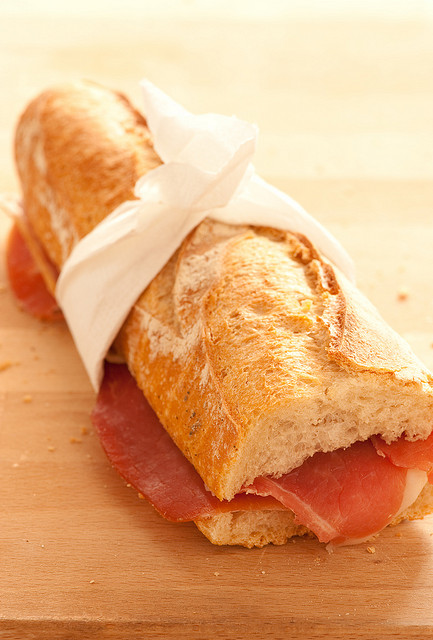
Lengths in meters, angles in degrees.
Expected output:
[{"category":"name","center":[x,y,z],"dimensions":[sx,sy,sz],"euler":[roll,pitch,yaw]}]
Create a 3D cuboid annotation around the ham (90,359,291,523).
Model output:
[{"category":"ham","center":[-0.107,0.226,1.408],"dimensions":[0.262,0.059,0.347],"euler":[-8,42,-44]}]
